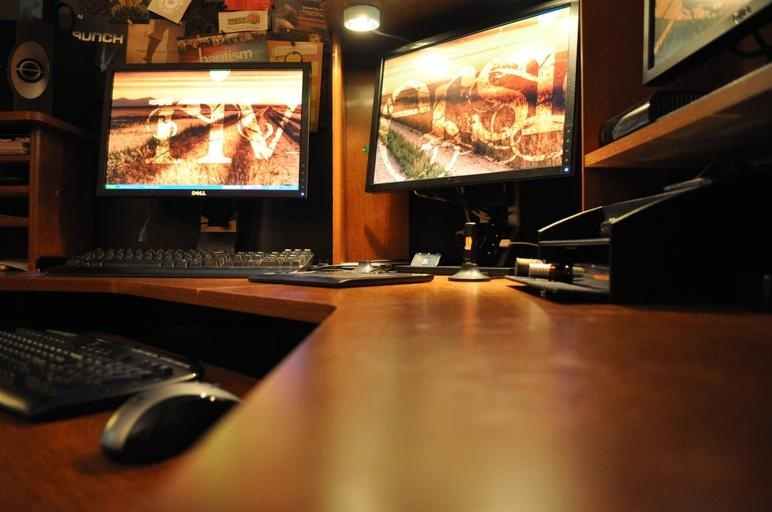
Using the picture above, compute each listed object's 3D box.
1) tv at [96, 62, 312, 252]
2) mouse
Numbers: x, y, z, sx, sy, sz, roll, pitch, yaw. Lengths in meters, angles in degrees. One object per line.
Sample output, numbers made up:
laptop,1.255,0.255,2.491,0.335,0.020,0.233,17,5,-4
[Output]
tv,-0.555,-0.384,1.677,0.642,0.419,0.067,1,1,2
mouse,-0.277,0.209,0.724,0.097,0.056,0.167,8,7,33
